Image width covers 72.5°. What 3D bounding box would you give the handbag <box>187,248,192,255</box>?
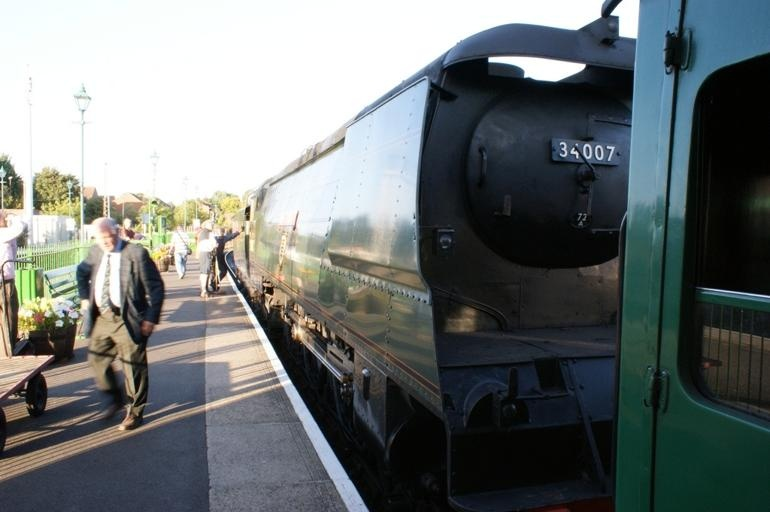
[{"bbox_3d":[-8.540,-0.183,22.953,0.090,0.353,0.378,10,-7,-32],"label":"handbag"}]

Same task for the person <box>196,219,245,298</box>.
[{"bbox_3d":[-5.238,0.133,16.779,0.983,1.323,2.481,-29,5,-27],"label":"person"}]

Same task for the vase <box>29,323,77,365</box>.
[{"bbox_3d":[-4.609,1.195,7.269,0.497,0.389,0.532,1,-3,-24],"label":"vase"}]

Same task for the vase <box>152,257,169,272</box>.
[{"bbox_3d":[-6.847,0.233,16.027,0.563,0.449,0.584,0,-4,-3],"label":"vase"}]

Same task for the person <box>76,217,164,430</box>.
[{"bbox_3d":[-2.650,0.686,5.258,0.807,2.121,0.371,0,5,-16],"label":"person"}]

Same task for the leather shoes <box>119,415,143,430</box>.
[{"bbox_3d":[-2.607,1.699,5.416,0.093,0.122,0.282,0,-7,19],"label":"leather shoes"}]

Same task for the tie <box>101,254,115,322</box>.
[{"bbox_3d":[-2.734,0.270,5.159,0.131,0.556,0.060,2,5,5],"label":"tie"}]

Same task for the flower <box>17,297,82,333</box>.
[{"bbox_3d":[-4.684,0.789,7.276,0.529,0.324,0.512,-2,11,-2],"label":"flower"}]
